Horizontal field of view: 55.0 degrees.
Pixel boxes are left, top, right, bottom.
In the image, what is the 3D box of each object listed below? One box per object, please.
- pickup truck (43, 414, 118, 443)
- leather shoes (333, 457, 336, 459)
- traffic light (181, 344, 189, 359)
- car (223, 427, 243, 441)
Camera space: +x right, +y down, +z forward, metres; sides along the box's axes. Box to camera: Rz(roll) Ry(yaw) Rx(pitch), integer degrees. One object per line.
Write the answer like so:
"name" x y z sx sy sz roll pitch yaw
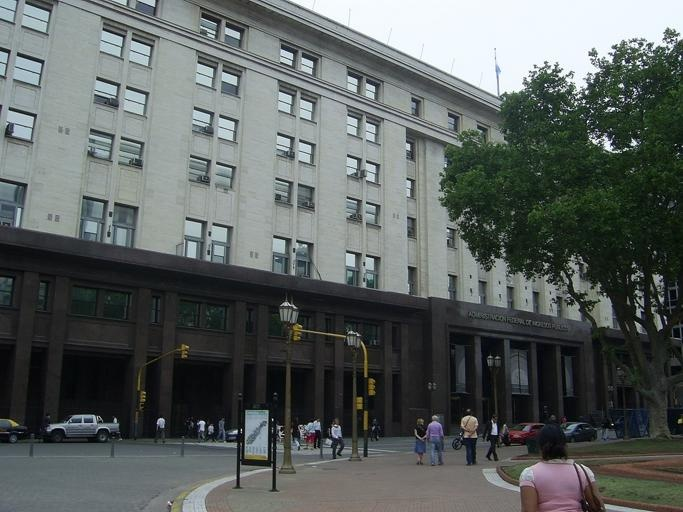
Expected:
"pickup truck" -15.703 10.470 39.723 3.515 1.449 1.992 10 -23 -20
"leather shoes" -0.344 10.081 33.044 0.144 0.100 0.144 3 -18 -12
"traffic light" -10.450 6.313 43.827 0.494 1.102 1.074 0 -6 -8
"car" -7.493 12.086 44.652 0.648 0.887 2.118 2 -18 -14
